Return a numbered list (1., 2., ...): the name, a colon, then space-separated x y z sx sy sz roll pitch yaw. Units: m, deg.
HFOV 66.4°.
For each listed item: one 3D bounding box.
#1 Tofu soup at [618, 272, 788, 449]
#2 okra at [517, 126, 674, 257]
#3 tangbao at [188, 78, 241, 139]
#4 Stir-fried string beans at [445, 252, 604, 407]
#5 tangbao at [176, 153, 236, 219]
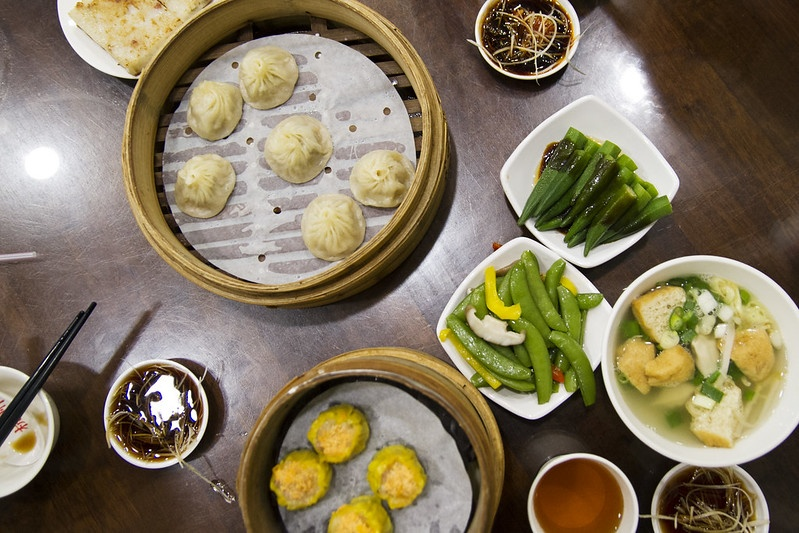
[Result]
1. Tofu soup: 1.367 0.416 2.804 0.692 0.218 0.771 -4 88 6
2. okra: 0.972 -0.314 3.008 0.636 0.222 0.534 26 81 8
3. tangbao: -0.933 -0.801 3.144 0.262 0.095 0.304 -31 98 -3
4. Stir-fried string beans: 0.588 0.282 2.900 0.744 0.132 0.703 43 96 3
5. tangbao: -0.985 -0.405 3.168 0.297 0.106 0.298 41 89 2
